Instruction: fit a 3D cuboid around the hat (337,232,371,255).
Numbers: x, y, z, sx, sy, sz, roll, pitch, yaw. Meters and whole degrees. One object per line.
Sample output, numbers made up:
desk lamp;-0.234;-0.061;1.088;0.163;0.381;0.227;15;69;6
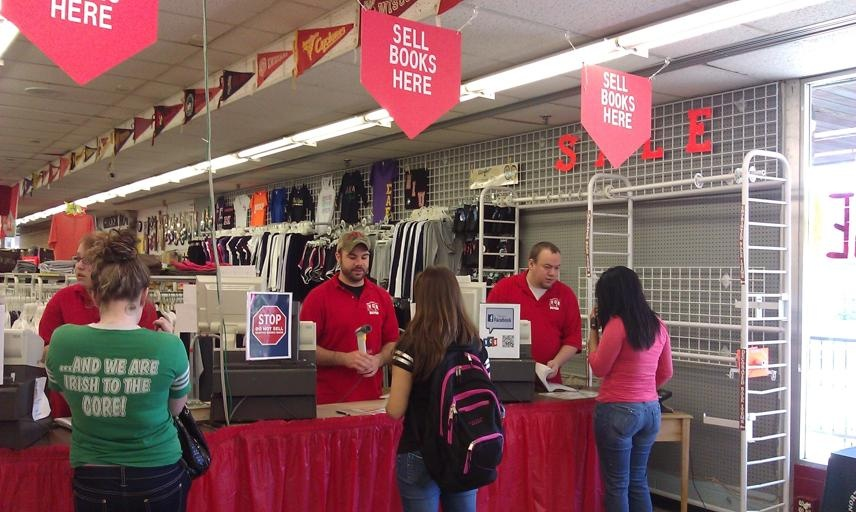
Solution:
hat;-0.633;-0.110;5.454;0.355;0.156;0.481;0;0;-14

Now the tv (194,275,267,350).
tv;-1.508;0.420;4.841;0.487;0.548;0.451;0;-5;-19

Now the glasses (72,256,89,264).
glasses;-2.834;0.026;5.182;0.099;0.028;0.093;-2;5;-29

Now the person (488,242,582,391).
person;1.012;0.533;5.922;0.811;1.302;0.481;-2;-4;7
